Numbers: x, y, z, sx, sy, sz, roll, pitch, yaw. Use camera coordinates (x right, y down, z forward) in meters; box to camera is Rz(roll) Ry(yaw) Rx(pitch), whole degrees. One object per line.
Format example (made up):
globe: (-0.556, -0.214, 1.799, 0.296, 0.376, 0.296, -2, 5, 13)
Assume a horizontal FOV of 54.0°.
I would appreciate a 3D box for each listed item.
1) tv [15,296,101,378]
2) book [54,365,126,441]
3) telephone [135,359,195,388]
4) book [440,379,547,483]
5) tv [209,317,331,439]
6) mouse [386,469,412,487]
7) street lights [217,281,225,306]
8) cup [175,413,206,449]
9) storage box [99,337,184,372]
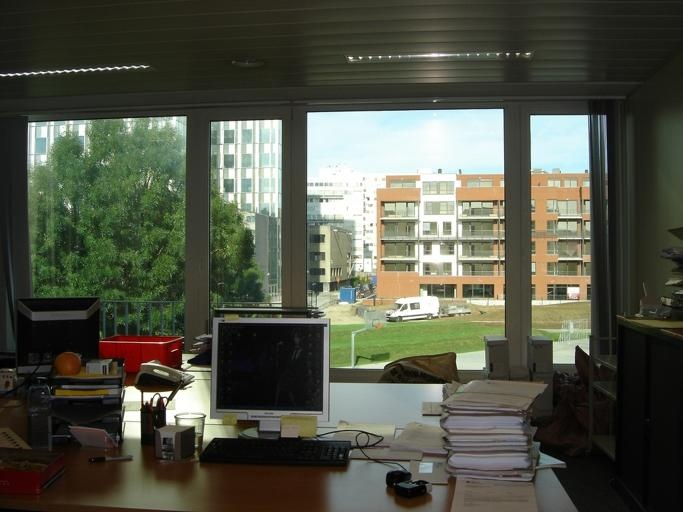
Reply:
tv: (-1.806, 0.521, 4.228, 0.491, 0.463, 0.250, 0, -1, -5)
book: (-1.319, 0.754, 3.477, 0.268, 0.147, 0.374, 2, 7, -2)
telephone: (-1.144, 0.758, 4.280, 0.239, 0.105, 0.189, -1, 0, -5)
book: (0.717, 0.831, 3.208, 0.373, 0.176, 0.489, 1, 11, 5)
tv: (-0.369, 0.628, 3.519, 0.601, 0.590, 0.199, -1, -6, 4)
mouse: (0.271, 1.032, 3.118, 0.120, 0.068, 0.085, -6, 15, -32)
street lights: (-1.134, 0.347, 6.264, 0.057, 0.205, 0.059, -1, 13, -13)
cup: (-0.751, 0.881, 3.404, 0.160, 0.173, 0.169, 0, -7, 0)
storage box: (-1.484, 0.707, 4.991, 0.483, 0.175, 0.371, 1, -2, 10)
